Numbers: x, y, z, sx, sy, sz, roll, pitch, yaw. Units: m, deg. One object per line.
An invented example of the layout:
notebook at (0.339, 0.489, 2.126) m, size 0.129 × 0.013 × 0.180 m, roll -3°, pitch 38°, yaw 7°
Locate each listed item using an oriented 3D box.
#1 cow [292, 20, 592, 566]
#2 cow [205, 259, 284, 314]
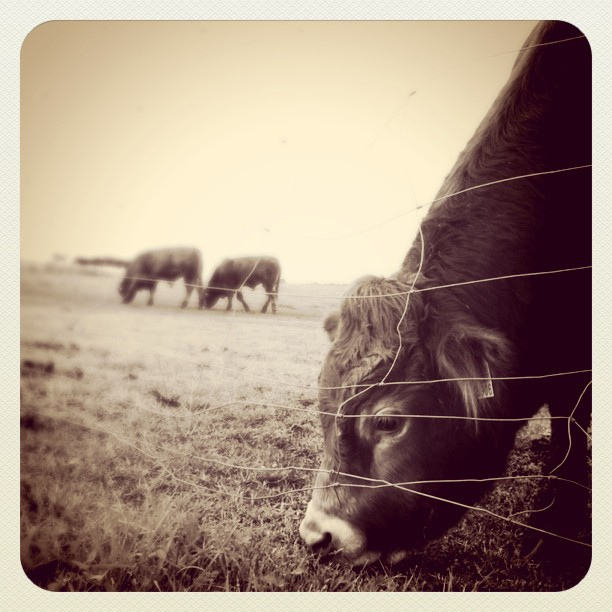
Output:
cow at (0.569, 0.097, 2.194) m, size 0.804 × 1.639 × 0.443 m, roll 24°, pitch 5°, yaw -34°
cow at (-0.221, -0.098, 2.489) m, size 0.362 × 0.296 × 0.129 m, roll 1°, pitch 5°, yaw 7°
